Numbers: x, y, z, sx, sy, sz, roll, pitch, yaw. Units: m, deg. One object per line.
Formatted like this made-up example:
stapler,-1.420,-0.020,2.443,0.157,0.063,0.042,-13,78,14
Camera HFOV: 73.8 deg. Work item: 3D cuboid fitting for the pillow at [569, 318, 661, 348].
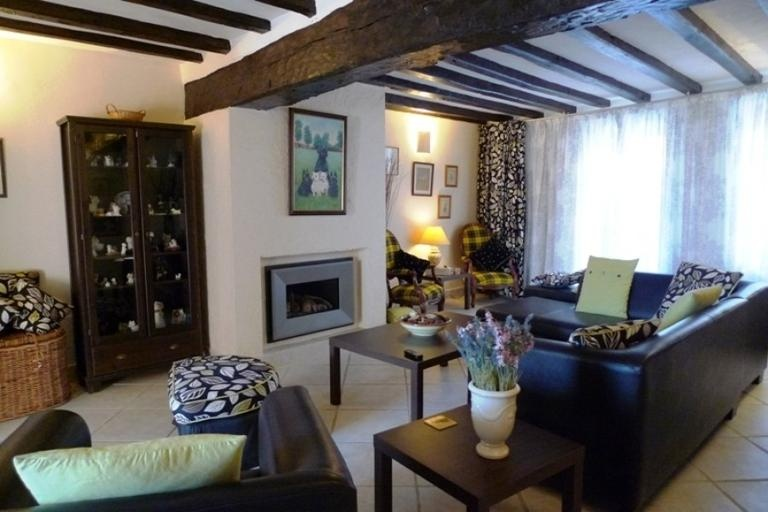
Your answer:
pillow,1.421,0.511,3.177,0.505,0.156,0.142,-9,-14,-7

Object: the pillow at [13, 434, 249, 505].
pillow,-1.094,0.957,2.310,0.999,0.262,0.511,-2,-38,-6

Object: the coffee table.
coffee table,0.111,0.674,4.144,0.810,0.510,1.202,8,11,39

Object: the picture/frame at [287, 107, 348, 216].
picture/frame,-0.674,-0.937,5.124,0.657,1.033,0.104,-9,11,-42

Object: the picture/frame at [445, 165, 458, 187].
picture/frame,1.009,-1.223,7.722,0.025,0.336,0.359,2,4,40

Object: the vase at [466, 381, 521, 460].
vase,0.598,0.904,2.812,0.293,0.350,0.300,-4,-9,38

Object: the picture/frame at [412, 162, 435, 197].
picture/frame,0.552,-1.117,7.358,0.544,0.571,0.062,-4,6,-44

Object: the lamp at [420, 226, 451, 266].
lamp,0.835,-0.152,7.317,0.558,0.592,0.538,-1,3,-27

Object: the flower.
flower,0.594,0.479,2.862,0.422,0.470,0.440,-1,3,45

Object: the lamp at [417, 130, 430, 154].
lamp,0.556,-1.616,7.222,0.174,0.292,0.101,-2,9,-7

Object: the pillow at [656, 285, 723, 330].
pillow,2.257,0.381,3.745,0.359,0.196,0.398,-26,-10,24

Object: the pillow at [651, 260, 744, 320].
pillow,2.813,0.231,4.611,0.224,0.655,0.714,31,-14,-3

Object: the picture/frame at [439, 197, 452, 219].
picture/frame,0.910,-0.728,7.687,0.031,0.379,0.345,4,6,43

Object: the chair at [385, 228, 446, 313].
chair,0.358,0.181,6.574,0.764,0.981,0.626,5,10,37
